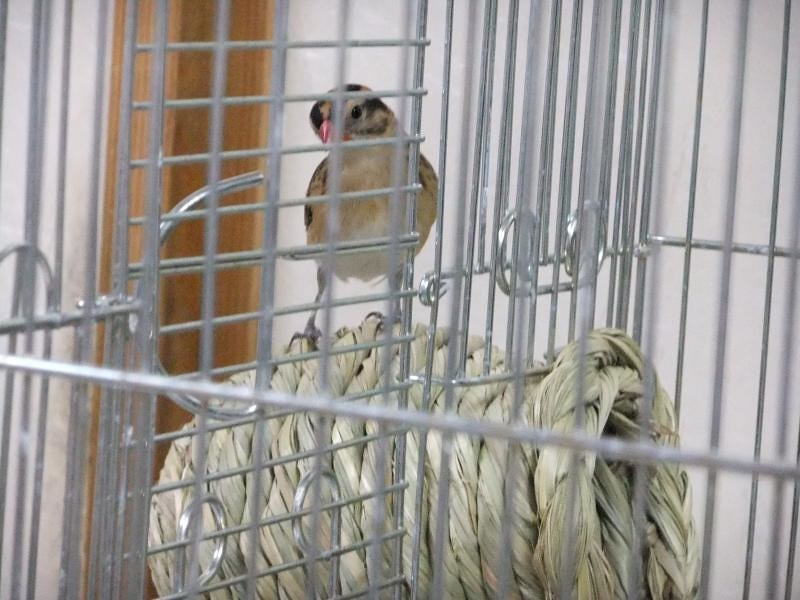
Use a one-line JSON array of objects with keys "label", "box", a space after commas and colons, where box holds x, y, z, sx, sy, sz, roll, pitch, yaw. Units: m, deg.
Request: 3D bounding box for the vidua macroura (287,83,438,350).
[{"label": "vidua macroura", "box": [-0.031, -0.095, 1.884, 0.135, 0.300, 0.255, 3, -79, 9]}]
